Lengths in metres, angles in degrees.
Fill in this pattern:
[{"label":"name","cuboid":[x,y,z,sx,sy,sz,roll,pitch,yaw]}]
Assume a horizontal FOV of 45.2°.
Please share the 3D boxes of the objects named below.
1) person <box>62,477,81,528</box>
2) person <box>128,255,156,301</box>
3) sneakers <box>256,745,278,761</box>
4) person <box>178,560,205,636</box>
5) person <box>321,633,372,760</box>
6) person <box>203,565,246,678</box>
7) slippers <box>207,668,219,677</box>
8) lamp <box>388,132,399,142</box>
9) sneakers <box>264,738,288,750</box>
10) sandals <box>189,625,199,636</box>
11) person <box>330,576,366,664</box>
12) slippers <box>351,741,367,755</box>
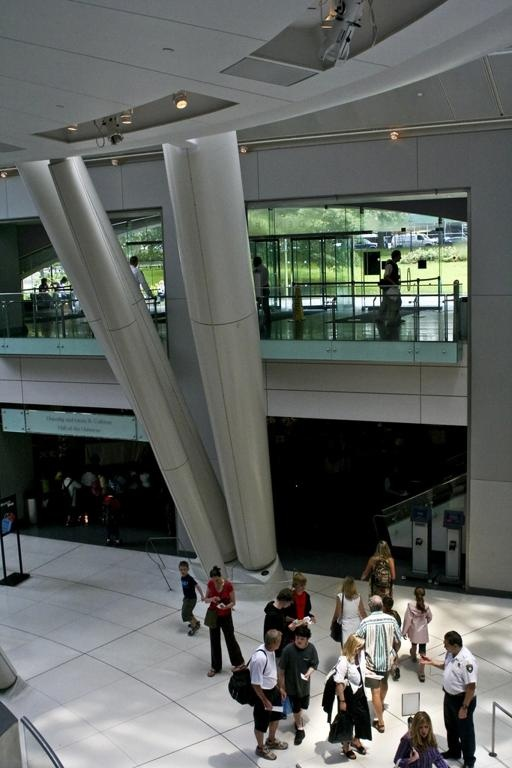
[{"label":"person","cuboid":[-5.846,3.647,19.573,0.592,1.077,1.160,-7,5,-18]},{"label":"person","cuboid":[-2.838,-2.678,15.204,0.511,1.169,1.320,-7,5,-10]},{"label":"sneakers","cuboid":[0.135,4.625,7.742,0.263,0.112,0.121,1,4,13]},{"label":"person","cuboid":[-1.268,3.990,11.741,0.380,1.450,0.959,-7,5,-11]},{"label":"person","cuboid":[1.088,3.831,7.399,0.525,1.655,0.844,-5,4,7]},{"label":"person","cuboid":[-0.562,3.802,9.789,0.570,1.916,0.827,-7,4,-8]},{"label":"slippers","cuboid":[-0.706,4.712,10.058,0.079,0.054,0.205,1,-5,10]},{"label":"lamp","cuboid":[2.828,-5.076,12.581,0.165,0.155,0.235,-5,5,10]},{"label":"sneakers","cuboid":[0.274,4.613,7.899,0.237,0.100,0.129,-1,5,-4]},{"label":"sandals","cuboid":[-1.193,4.678,11.712,0.087,0.103,0.247,-3,4,17]},{"label":"person","cuboid":[1.413,3.642,9.350,0.606,1.376,0.343,-2,2,-7]},{"label":"slippers","cuboid":[1.287,4.533,7.670,0.083,0.098,0.252,3,8,-2]}]
